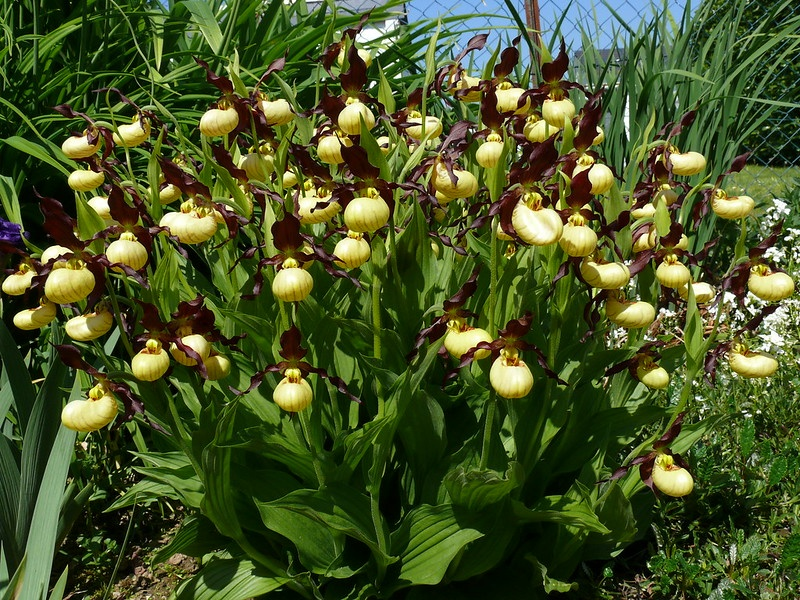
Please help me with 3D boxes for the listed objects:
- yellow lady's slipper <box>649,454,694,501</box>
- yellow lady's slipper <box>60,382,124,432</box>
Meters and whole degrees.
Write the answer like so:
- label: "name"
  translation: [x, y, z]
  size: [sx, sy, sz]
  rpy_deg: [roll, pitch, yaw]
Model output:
- label: "yellow lady's slipper"
  translation: [0.950, 0.615, 2.657]
  size: [0.117, 0.071, 0.155]
  rpy_deg: [-15, 58, -18]
- label: "yellow lady's slipper"
  translation: [-1.049, 0.387, 2.597]
  size: [0.132, 0.088, 0.188]
  rpy_deg: [8, 35, 4]
